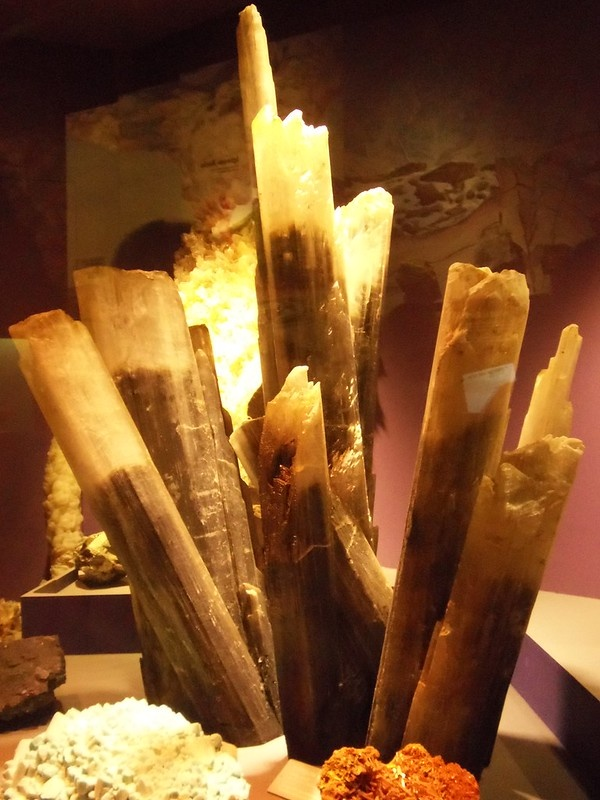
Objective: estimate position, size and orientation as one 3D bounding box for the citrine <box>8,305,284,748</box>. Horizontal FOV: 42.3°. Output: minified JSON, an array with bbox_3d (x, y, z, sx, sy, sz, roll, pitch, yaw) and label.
[{"bbox_3d":[-0.167,0.151,0.921,0.163,0.692,0.124,-23,8,2],"label":"citrine"}]

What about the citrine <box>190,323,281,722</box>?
[{"bbox_3d":[-0.046,0.192,0.982,0.076,0.601,0.067,-8,5,10],"label":"citrine"}]

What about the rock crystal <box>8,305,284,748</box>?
[{"bbox_3d":[-0.175,0.137,0.918,0.163,0.692,0.124,-23,8,2],"label":"rock crystal"}]
